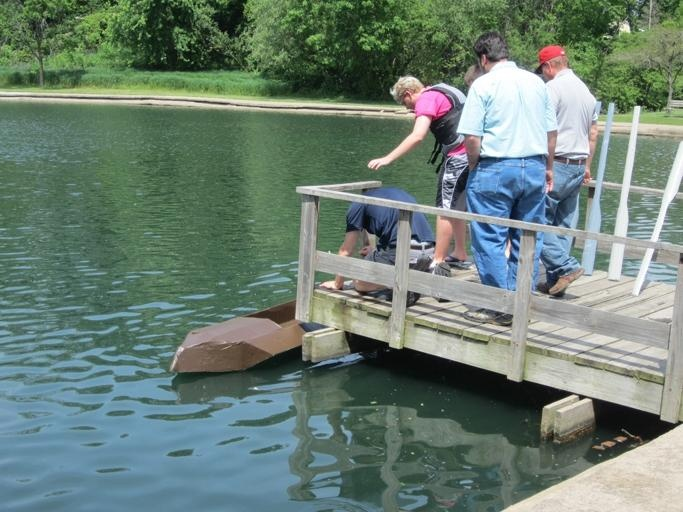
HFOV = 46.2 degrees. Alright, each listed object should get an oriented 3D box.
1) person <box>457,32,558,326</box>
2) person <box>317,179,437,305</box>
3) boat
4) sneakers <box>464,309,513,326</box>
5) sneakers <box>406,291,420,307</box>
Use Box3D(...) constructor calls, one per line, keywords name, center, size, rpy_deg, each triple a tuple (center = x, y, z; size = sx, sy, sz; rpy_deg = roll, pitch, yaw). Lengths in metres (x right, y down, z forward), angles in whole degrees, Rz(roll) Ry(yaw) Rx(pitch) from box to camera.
Box3D(name="person", center=(1.656, -0.712, 7.813), size=(0.984, 2.845, 0.879), rpy_deg=(-5, 18, -16))
Box3D(name="person", center=(0.479, -0.144, 8.798), size=(1.001, 1.258, 1.434), rpy_deg=(-10, 18, -34))
Box3D(name="boat", center=(-1.084, 0.910, 8.916), size=(1.299, 0.179, 0.734), rpy_deg=(-10, 21, -35))
Box3D(name="sneakers", center=(1.492, 0.589, 8.099), size=(0.519, 0.150, 0.161), rpy_deg=(7, 10, 23))
Box3D(name="sneakers", center=(0.774, 0.457, 8.616), size=(0.190, 0.148, 0.175), rpy_deg=(6, -5, -2))
